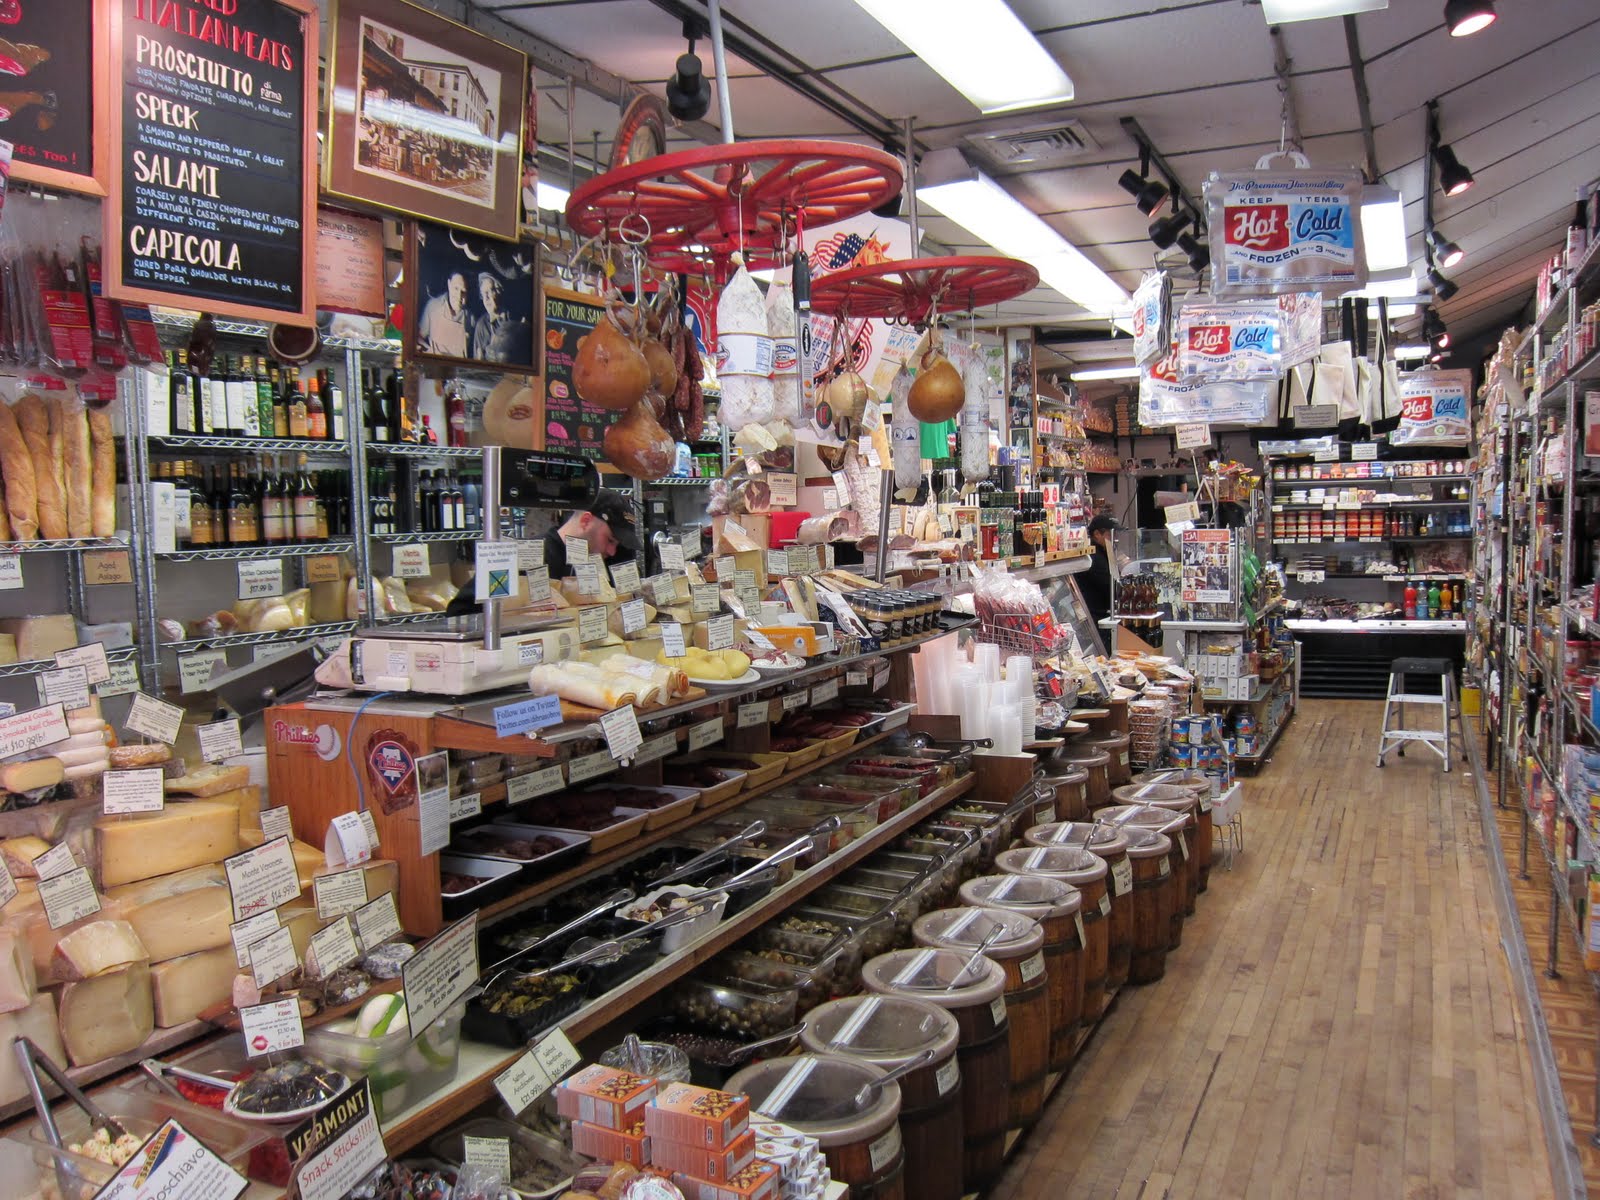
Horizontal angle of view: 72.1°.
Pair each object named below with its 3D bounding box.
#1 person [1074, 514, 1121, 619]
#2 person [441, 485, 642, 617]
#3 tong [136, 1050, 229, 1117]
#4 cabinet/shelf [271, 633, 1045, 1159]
[{"bbox_3d":[2.665,-0.303,9.925,0.353,0.869,1.845,-3,6,15],"label":"person"},{"bbox_3d":[-0.731,-0.197,3.605,0.513,0.356,1.074,-4,-6,-13],"label":"person"},{"bbox_3d":[-1.157,0.891,2.063,0.140,0.038,0.081,16,23,13],"label":"tong"},{"bbox_3d":[-0.391,0.931,3.427,1.077,0.716,2.470,-3,0,29],"label":"cabinet/shelf"}]
